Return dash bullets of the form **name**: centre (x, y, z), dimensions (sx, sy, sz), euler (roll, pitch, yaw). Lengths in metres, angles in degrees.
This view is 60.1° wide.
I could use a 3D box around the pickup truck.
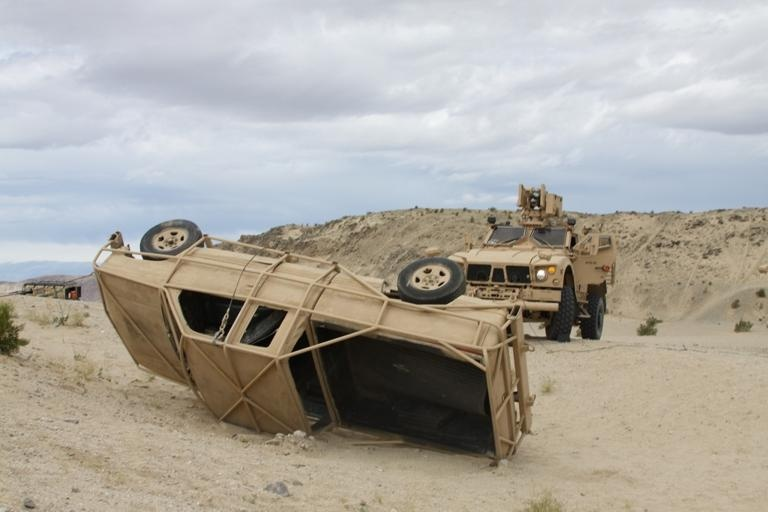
- **pickup truck**: centre (-1.666, 2.276, 14.892), dimensions (9.523, 4.465, 3.590), euler (10, -25, 7)
